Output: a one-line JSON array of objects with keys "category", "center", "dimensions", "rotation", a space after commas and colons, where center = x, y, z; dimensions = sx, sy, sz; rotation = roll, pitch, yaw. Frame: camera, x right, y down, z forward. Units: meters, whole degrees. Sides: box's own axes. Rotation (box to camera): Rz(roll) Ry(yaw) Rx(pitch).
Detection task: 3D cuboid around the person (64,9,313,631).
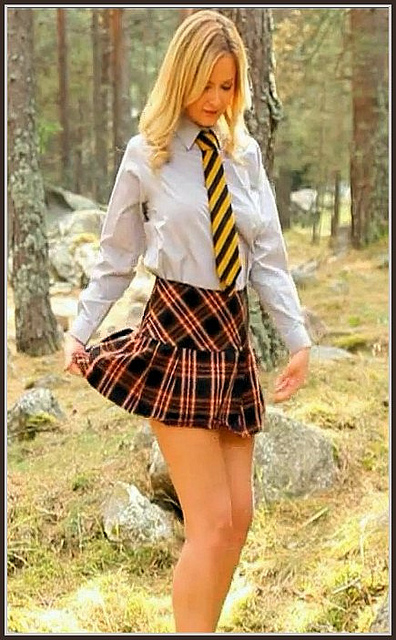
[{"category": "person", "center": [-0.023, -0.021, 2.298], "dimensions": [0.864, 2.061, 0.514], "rotation": [0, 5, -12]}]
